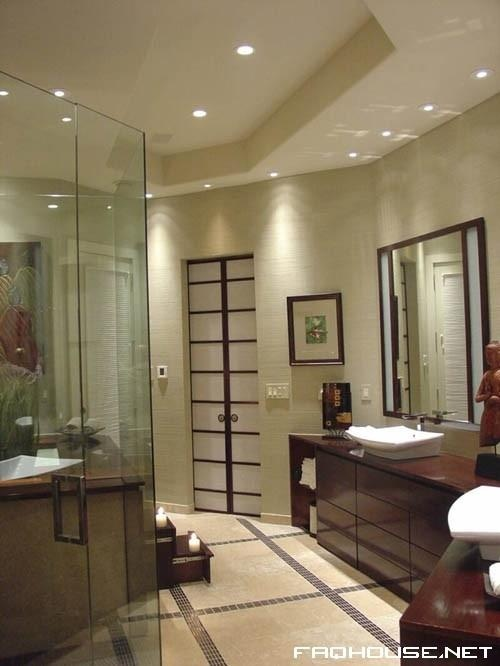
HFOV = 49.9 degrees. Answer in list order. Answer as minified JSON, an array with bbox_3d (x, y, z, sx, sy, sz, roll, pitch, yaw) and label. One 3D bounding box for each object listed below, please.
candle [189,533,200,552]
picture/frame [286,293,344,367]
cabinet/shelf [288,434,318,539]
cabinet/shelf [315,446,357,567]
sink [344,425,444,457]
[{"bbox_3d":[-0.323,1.205,3.114,0.069,0.108,0.099,-2,-4,-9],"label":"candle"},{"bbox_3d":[0.502,-0.028,3.961,0.549,0.680,0.030,-1,-1,18],"label":"picture/frame"},{"bbox_3d":[0.473,1.100,4.089,0.336,0.639,0.195,-4,-12,12],"label":"cabinet/shelf"},{"bbox_3d":[0.709,1.162,3.633,0.240,0.668,0.697,-16,-24,18],"label":"cabinet/shelf"},{"bbox_3d":[0.808,0.619,3.042,0.394,0.122,0.621,-2,-4,-7],"label":"sink"}]
